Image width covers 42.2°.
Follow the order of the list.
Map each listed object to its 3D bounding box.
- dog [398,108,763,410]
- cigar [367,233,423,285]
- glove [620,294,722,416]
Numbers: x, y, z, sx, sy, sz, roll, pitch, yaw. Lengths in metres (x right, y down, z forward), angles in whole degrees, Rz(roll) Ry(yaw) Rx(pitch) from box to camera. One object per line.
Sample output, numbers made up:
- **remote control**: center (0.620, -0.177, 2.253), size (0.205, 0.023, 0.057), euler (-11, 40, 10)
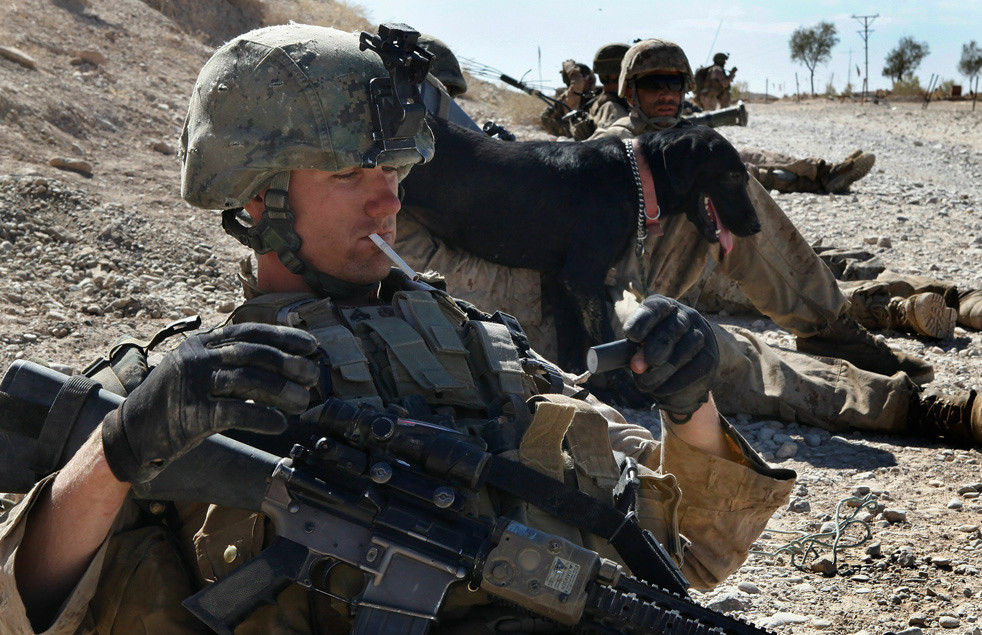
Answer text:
- **dog**: center (0.323, -0.561, 8.658), size (2.902, 1.520, 0.711), euler (12, 19, 19)
- **cigar**: center (-0.506, -0.317, 6.272), size (0.389, 0.104, 0.073), euler (49, 29, 24)
- **glove**: center (0.875, 0.178, 5.950), size (0.405, 0.535, 0.241), euler (-39, 20, 12)
